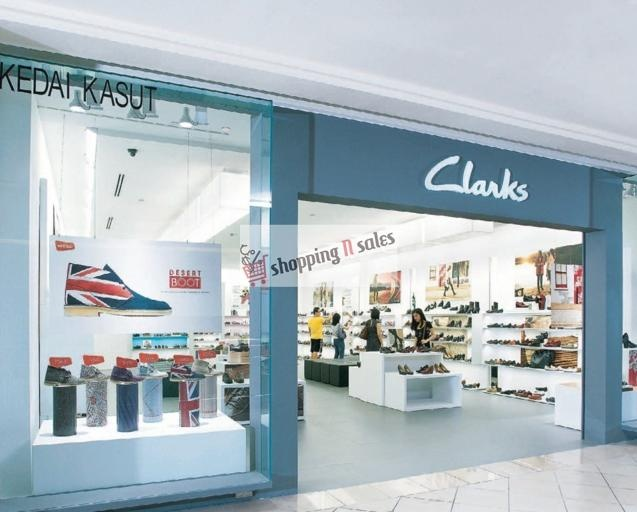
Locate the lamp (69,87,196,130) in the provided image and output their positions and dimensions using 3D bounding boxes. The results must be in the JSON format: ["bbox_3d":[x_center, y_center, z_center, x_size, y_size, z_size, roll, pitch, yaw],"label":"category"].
[{"bbox_3d":[-1.557,-1.254,4.694,1.011,0.220,0.054,2,-2,-22],"label":"lamp"}]

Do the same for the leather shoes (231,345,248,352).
[{"bbox_3d":[-0.688,0.830,4.917,0.156,0.065,0.052,6,-7,-25],"label":"leather shoes"}]

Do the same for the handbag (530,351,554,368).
[{"bbox_3d":[4.103,1.902,10.058,0.087,0.359,0.495,2,-2,-23],"label":"handbag"}]
